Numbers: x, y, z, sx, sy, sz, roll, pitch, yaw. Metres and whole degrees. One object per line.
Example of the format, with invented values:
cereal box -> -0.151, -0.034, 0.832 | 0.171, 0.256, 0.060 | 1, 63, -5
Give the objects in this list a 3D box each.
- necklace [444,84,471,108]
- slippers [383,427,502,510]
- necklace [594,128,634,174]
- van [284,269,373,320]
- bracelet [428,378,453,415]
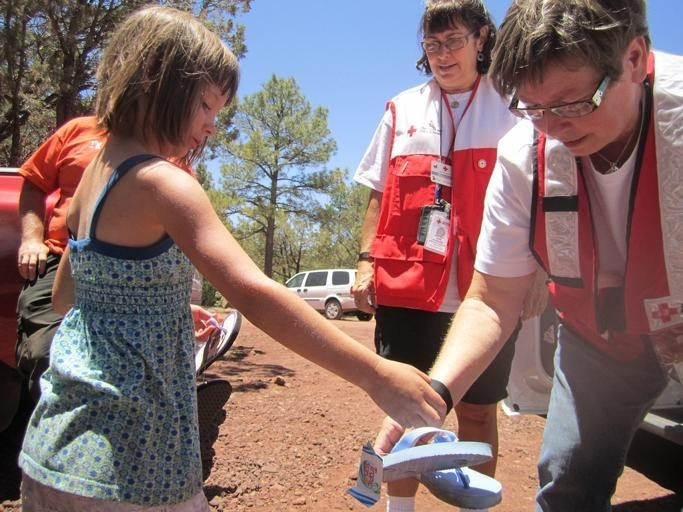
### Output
necklace -> 0.644, -0.871, 2.810 | 0.103, 0.063, 0.109 | -3, -15, 17
slippers -> 0.285, 0.694, 1.805 | 0.209, 0.182, 0.548 | 40, -32, -25
necklace -> 1.040, -0.392, 1.945 | 0.094, 0.172, 0.109 | -4, -45, 40
van -> -0.458, 1.202, 17.200 | 1.578, 1.419, 3.086 | 4, 1, -42
bracelet -> 0.368, 0.505, 1.829 | 0.081, 0.106, 0.072 | -13, -3, 36
